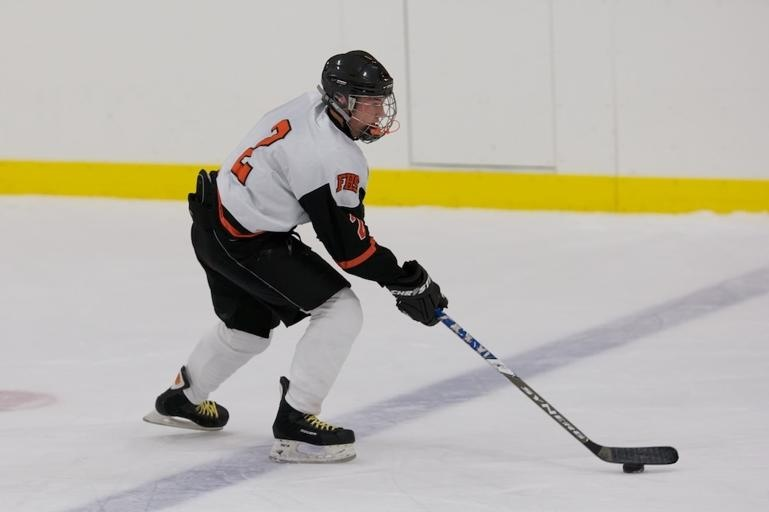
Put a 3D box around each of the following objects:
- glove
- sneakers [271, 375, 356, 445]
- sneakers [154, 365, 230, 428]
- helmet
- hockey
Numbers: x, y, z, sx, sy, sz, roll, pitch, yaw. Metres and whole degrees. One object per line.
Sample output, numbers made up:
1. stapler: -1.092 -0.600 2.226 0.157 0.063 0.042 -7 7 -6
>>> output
1. glove: 0.132 0.182 4.048 0.331 0.205 0.132 52 -9 -25
2. sneakers: -0.292 0.684 3.896 0.413 0.258 0.150 3 4 22
3. sneakers: -0.854 0.661 4.205 0.478 0.280 0.158 4 23 -16
4. helmet: -0.114 -0.731 4.035 0.355 0.311 0.294 18 25 37
5. hockey: 0.752 0.458 4.028 1.310 0.440 0.111 37 66 16
